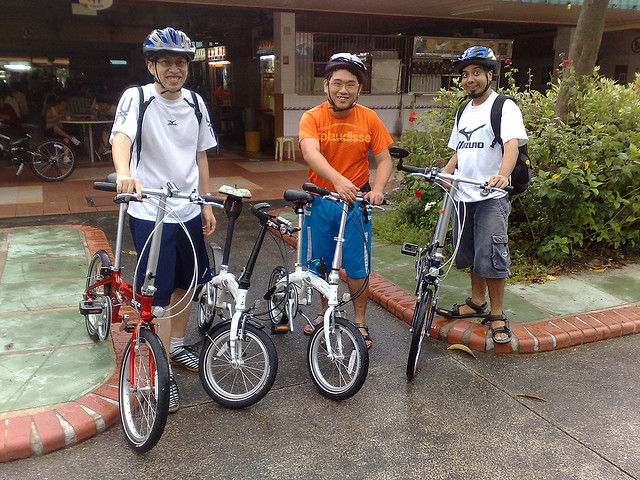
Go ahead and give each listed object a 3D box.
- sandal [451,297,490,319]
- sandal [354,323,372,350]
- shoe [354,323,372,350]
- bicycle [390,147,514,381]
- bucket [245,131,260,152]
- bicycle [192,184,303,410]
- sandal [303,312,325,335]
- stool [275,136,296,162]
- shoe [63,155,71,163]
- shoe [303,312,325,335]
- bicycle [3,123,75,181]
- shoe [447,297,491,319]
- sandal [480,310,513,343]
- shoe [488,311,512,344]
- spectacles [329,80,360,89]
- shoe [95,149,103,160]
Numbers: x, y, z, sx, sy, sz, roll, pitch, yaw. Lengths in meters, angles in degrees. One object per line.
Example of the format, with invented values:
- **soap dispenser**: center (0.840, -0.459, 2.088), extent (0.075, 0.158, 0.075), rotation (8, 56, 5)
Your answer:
- **sandal**: center (1.511, 0.678, 5.048), extent (0.347, 0.152, 0.171), rotation (5, 15, 12)
- **sandal**: center (0.393, 0.861, 4.578), extent (0.099, 0.122, 0.302), rotation (-1, 18, -4)
- **shoe**: center (0.413, 0.847, 4.614), extent (0.096, 0.119, 0.291), rotation (-1, 6, -1)
- **bicycle**: center (1.139, 0.112, 5.113), extent (0.998, 1.422, 2.395), rotation (18, 12, 10)
- **bucket**: center (-2.090, -3.164, 16.227), extent (0.543, 0.628, 0.548), rotation (2, 21, -1)
- **bicycle**: center (-0.727, 0.361, 4.296), extent (0.758, 1.500, 1.854), rotation (10, 13, -25)
- **sandal**: center (-0.056, 0.800, 4.842), extent (0.121, 0.090, 0.344), rotation (4, 5, 31)
- **stool**: center (-0.967, -2.565, 14.374), extent (0.675, 0.920, 0.685), rotation (-4, 9, -18)
- **shoe**: center (-5.715, -1.827, 11.442), extent (0.037, 0.127, 0.124), rotation (-4, 0, 39)
- **shoe**: center (-0.072, 0.811, 4.819), extent (0.121, 0.086, 0.325), rotation (4, 7, 31)
- **bicycle**: center (-6.356, -1.955, 11.611), extent (1.883, 1.282, 0.971), rotation (5, 6, -8)
- **shoe**: center (1.504, 0.679, 5.028), extent (0.357, 0.155, 0.175), rotation (3, 10, 5)
- **sandal**: center (1.701, 0.768, 4.807), extent (0.190, 0.142, 0.585), rotation (-7, 17, 7)
- **shoe**: center (1.674, 0.801, 4.661), extent (0.108, 0.083, 0.336), rotation (-8, 28, 9)
- **spectacles**: center (0.200, -1.243, 4.059), extent (0.223, 0.056, 0.054), rotation (0, 17, -1)
- **shoe**: center (-6.288, -2.445, 14.451), extent (0.127, 0.132, 1.142), rotation (-14, 23, -19)
